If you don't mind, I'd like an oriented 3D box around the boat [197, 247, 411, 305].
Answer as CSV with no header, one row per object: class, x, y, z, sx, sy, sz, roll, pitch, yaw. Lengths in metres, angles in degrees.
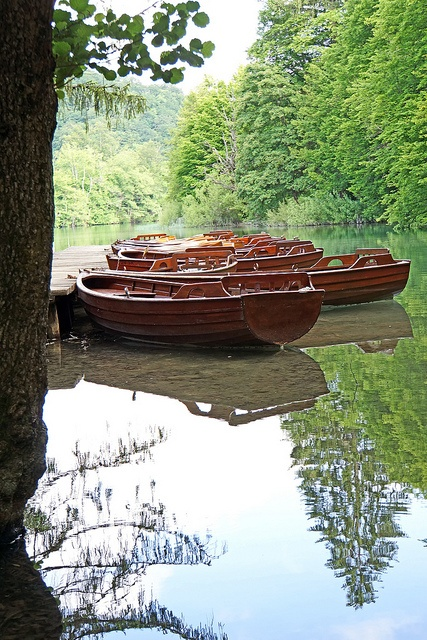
boat,1.946,-0.770,10.293,4.133,1.010,1.332,-4,3,-7
